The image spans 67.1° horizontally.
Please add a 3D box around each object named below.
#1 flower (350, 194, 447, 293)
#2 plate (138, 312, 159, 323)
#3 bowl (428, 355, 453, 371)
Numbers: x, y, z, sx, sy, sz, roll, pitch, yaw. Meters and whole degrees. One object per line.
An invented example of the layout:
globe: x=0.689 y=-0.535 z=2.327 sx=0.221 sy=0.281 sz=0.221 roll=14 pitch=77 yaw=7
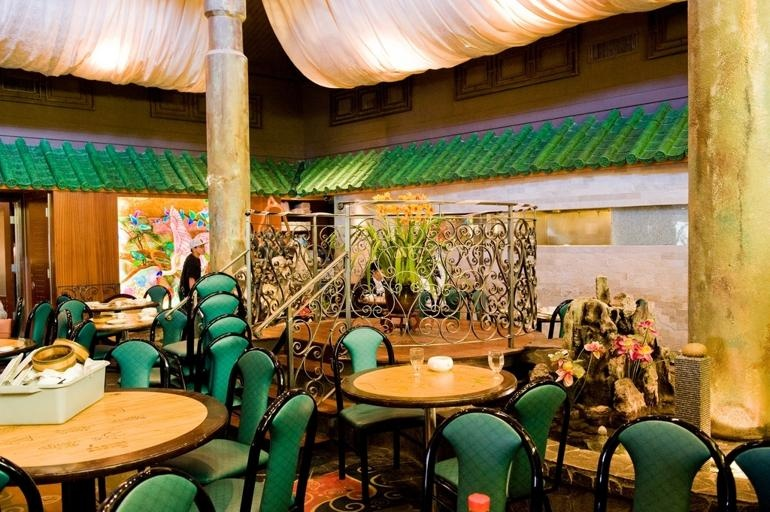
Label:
flower: x=0.283 y=0.011 z=6.436 sx=0.835 sy=1.060 sz=0.834 roll=7 pitch=-10 yaw=32
plate: x=-3.102 y=0.798 z=7.583 sx=0.292 sy=0.083 sz=0.267 roll=-1 pitch=4 yaw=-36
bowl: x=0.457 y=0.855 z=4.626 sx=0.140 sy=0.058 sz=0.132 roll=-1 pitch=-3 yaw=0
